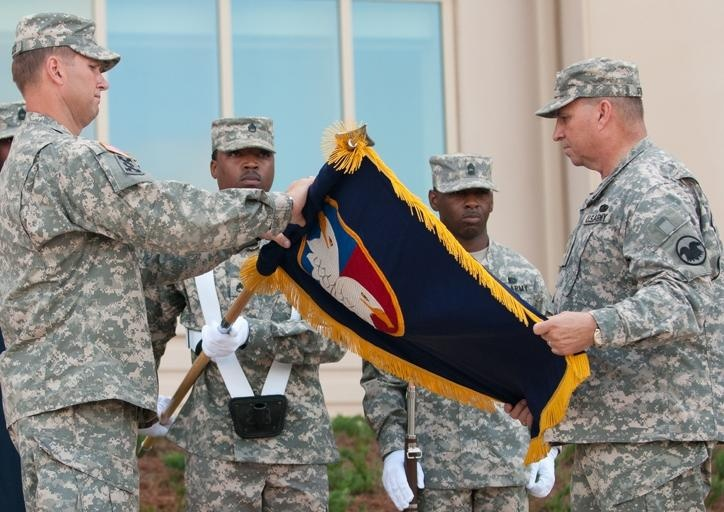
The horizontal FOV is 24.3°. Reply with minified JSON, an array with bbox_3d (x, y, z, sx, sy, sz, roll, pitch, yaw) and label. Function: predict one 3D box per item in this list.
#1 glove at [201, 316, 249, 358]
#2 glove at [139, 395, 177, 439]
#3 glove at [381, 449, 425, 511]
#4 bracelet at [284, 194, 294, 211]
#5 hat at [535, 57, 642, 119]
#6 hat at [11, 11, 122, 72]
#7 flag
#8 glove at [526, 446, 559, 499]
[{"bbox_3d":[-0.965,0.565,11.626,0.255,0.279,0.143,-6,0,-20],"label":"glove"},{"bbox_3d":[-1.464,1.158,12.110,0.137,0.362,0.280,30,-24,-24],"label":"glove"},{"bbox_3d":[0.225,1.583,11.776,0.129,0.396,0.314,-6,-18,-29],"label":"glove"},{"bbox_3d":[-0.470,-0.346,11.008,0.019,0.071,0.075,9,-19,12],"label":"bracelet"},{"bbox_3d":[1.537,-1.151,11.465,0.573,0.259,0.399,0,-4,5],"label":"hat"},{"bbox_3d":[-1.931,-1.413,11.006,0.610,0.264,0.360,1,3,-17],"label":"hat"},{"bbox_3d":[0.290,0.373,11.843,2.717,1.720,0.601,36,19,-5],"label":"flag"},{"bbox_3d":[1.285,1.606,12.208,0.158,0.370,0.363,6,-16,11],"label":"glove"}]
